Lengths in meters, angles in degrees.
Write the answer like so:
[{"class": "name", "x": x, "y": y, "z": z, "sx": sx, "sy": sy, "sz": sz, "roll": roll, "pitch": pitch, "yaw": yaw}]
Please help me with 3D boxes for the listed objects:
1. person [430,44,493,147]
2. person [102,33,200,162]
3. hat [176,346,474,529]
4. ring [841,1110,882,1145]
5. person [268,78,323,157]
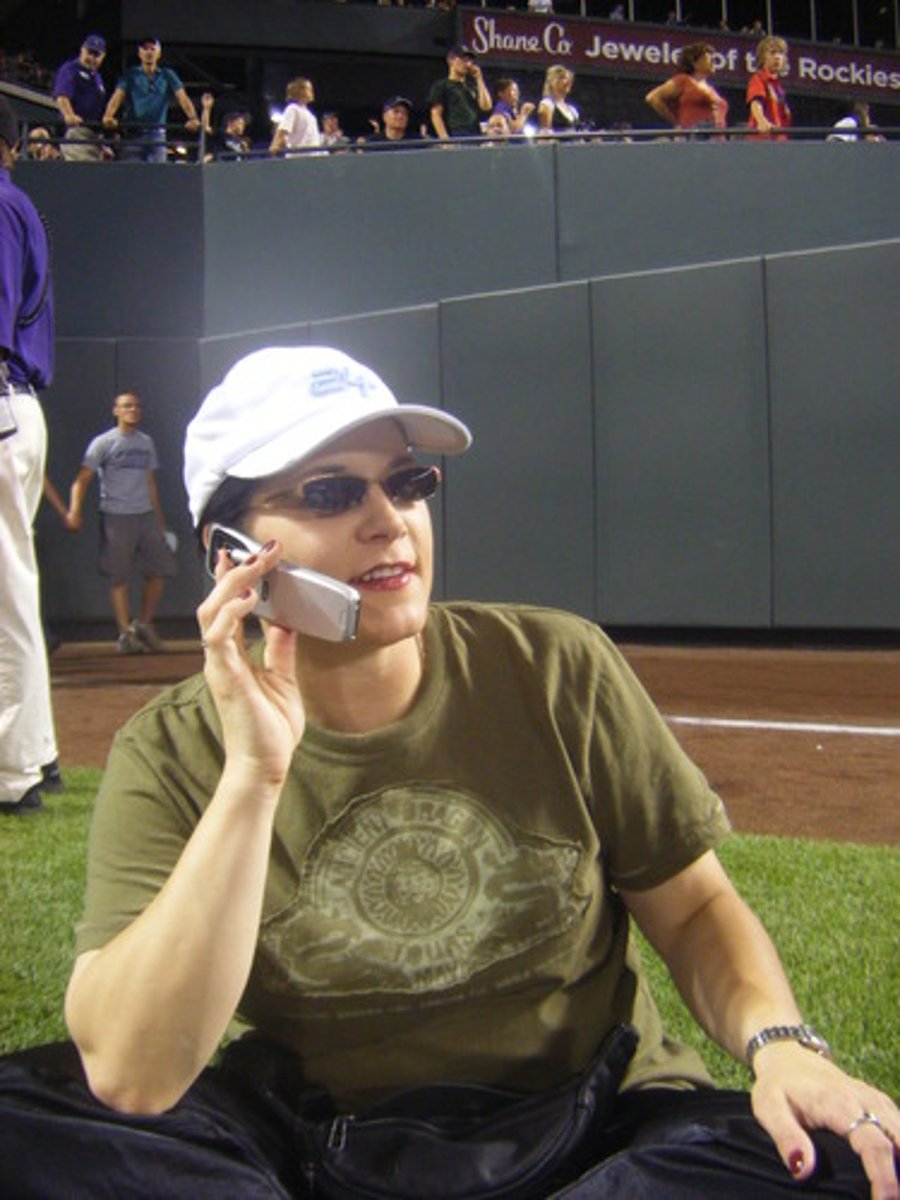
[{"class": "person", "x": 0.074, "y": -5.019, "z": 10.179, "sx": 0.517, "sy": 1.139, "sz": 0.872, "roll": 1, "pitch": 4, "yaw": 15}, {"class": "person", "x": -3.134, "y": -5.113, "z": 10.506, "sx": 0.880, "sy": 1.321, "sz": 1.128, "roll": -1, "pitch": 4, "yaw": -18}, {"class": "hat", "x": -0.181, "y": -0.239, "z": 1.324, "sx": 0.321, "sy": 0.165, "sz": 0.240, "roll": -26, "pitch": -5, "yaw": 41}, {"class": "ring", "x": 0.412, "y": 0.518, "z": 1.001, "sx": 0.019, "sy": 0.022, "sz": 0.008, "roll": 34, "pitch": 8, "yaw": -21}, {"class": "person", "x": -1.560, "y": -4.849, "z": 10.197, "sx": 0.467, "sy": 0.978, "sz": 0.835, "roll": 0, "pitch": 3, "yaw": -6}]
